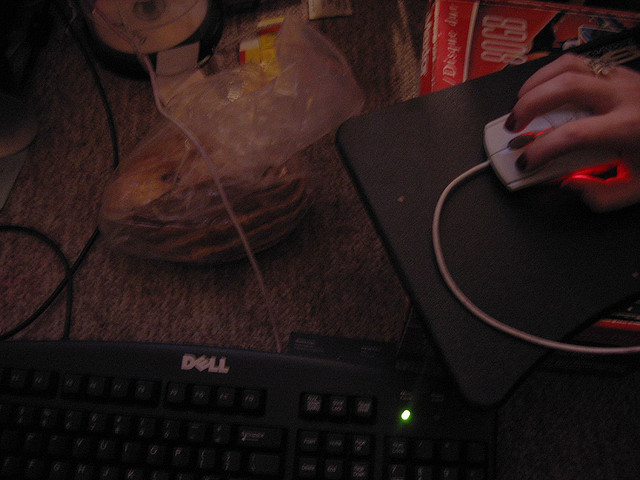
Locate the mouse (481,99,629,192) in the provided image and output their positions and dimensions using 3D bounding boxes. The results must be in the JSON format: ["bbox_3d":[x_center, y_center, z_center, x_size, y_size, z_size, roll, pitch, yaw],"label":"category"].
[{"bbox_3d":[0.250,-0.095,0.602,0.131,0.035,0.081,-19,72,5],"label":"mouse"}]
